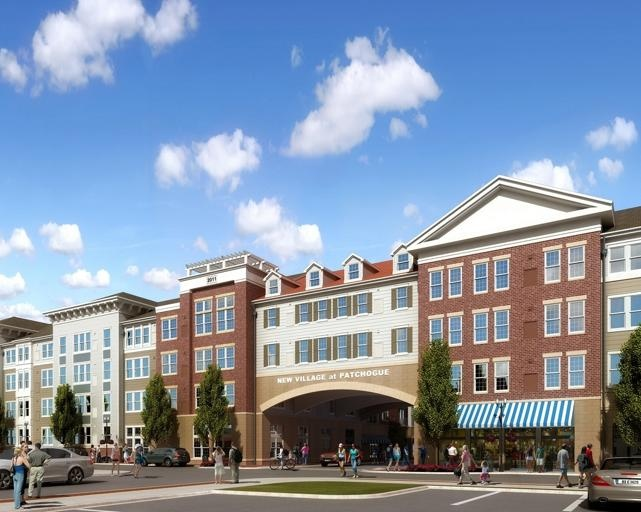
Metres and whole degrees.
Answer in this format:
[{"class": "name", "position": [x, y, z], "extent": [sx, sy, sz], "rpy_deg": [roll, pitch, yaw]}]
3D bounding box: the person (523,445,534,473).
[{"class": "person", "position": [14.273, 13.743, 58.132], "extent": [0.572, 1.665, 1.018], "rpy_deg": [-6, -13, 14]}]

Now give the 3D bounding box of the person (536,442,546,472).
[{"class": "person", "position": [14.775, 13.554, 57.378], "extent": [0.623, 1.754, 1.681], "rpy_deg": [-6, -14, 13]}]

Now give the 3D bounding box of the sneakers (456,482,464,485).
[{"class": "sneakers", "position": [7.914, 12.839, 48.394], "extent": [0.157, 0.284, 0.352], "rpy_deg": [5, -3, -31]}]

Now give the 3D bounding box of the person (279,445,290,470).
[{"class": "person", "position": [-2.646, 15.100, 63.877], "extent": [0.790, 1.591, 2.021], "rpy_deg": [-3, -15, -3]}]

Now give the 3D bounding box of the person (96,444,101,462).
[{"class": "person", "position": [-20.873, 18.655, 80.941], "extent": [0.445, 1.630, 1.728], "rpy_deg": [0, -15, -13]}]

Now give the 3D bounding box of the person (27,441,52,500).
[{"class": "person", "position": [-14.090, 10.538, 42.675], "extent": [0.938, 2.790, 0.766], "rpy_deg": [3, 10, -23]}]
